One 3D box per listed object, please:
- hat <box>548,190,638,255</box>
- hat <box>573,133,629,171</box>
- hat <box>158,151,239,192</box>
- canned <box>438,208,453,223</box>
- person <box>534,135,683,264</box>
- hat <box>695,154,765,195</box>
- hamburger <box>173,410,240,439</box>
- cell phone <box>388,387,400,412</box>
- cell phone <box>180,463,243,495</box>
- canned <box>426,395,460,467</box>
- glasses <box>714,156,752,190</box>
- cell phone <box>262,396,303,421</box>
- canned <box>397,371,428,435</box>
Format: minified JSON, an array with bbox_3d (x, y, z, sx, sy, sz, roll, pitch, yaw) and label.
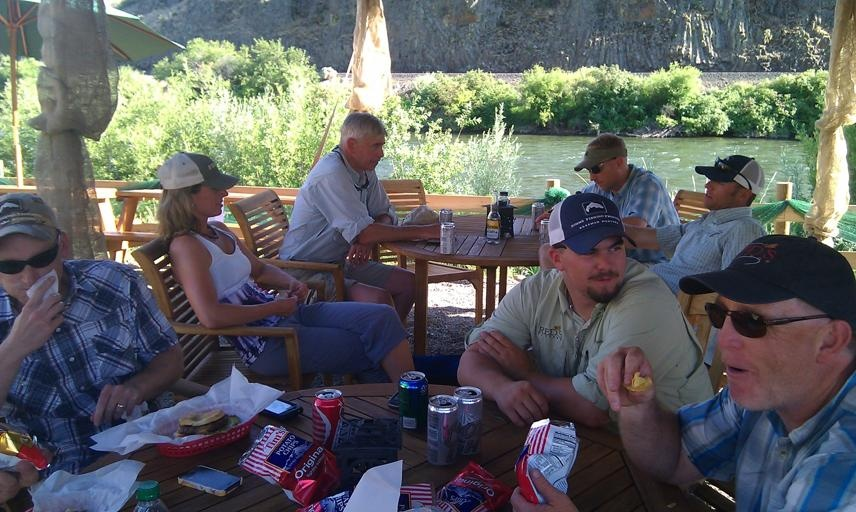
[{"bbox_3d":[0.779,-0.165,3.007,0.291,0.215,0.375,-3,6,-1],"label":"hat"},{"bbox_3d":[1.494,-0.904,5.230,0.416,0.222,0.262,-15,17,-9],"label":"hat"},{"bbox_3d":[-1.491,-0.574,3.925,0.420,0.189,0.254,-8,20,-19],"label":"hat"},{"bbox_3d":[0.169,-0.331,4.884,0.138,0.143,0.131,-2,7,-11],"label":"canned"},{"bbox_3d":[1.916,-0.596,5.599,1.429,0.945,1.006,-15,10,-19],"label":"person"},{"bbox_3d":[2.324,-0.632,4.700,0.453,0.216,0.283,11,8,8],"label":"hat"},{"bbox_3d":[-0.946,0.715,2.607,0.241,0.081,0.142,0,7,4],"label":"hamburger"},{"bbox_3d":[-0.153,0.665,2.822,0.062,0.023,0.122,3,20,5],"label":"cell phone"},{"bbox_3d":[-0.868,0.893,2.421,0.181,0.024,0.104,8,14,14],"label":"cell phone"},{"bbox_3d":[0.054,0.719,2.492,0.127,0.285,0.072,1,8,13],"label":"canned"},{"bbox_3d":[2.328,-0.639,4.582,0.298,0.173,0.205,27,11,7],"label":"glasses"},{"bbox_3d":[-0.665,0.702,2.782,0.141,0.063,0.117,3,8,30],"label":"cell phone"},{"bbox_3d":[-0.071,0.640,2.645,0.130,0.263,0.112,0,8,3],"label":"canned"}]
